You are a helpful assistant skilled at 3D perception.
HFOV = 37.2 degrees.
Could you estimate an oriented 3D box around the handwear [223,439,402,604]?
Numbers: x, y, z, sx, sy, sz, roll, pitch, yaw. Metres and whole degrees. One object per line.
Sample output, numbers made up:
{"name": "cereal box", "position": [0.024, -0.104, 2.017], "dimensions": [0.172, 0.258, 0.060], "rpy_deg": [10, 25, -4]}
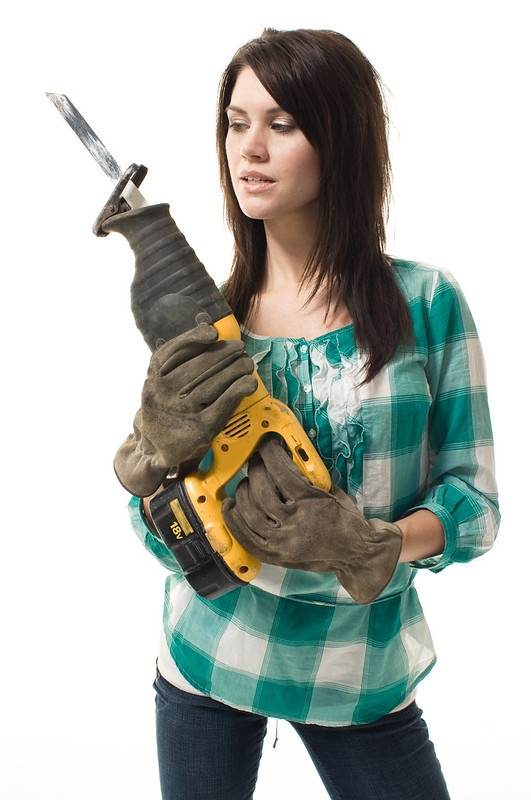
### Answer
{"name": "handwear", "position": [0.086, 0.239, 1.653], "dimensions": [0.261, 0.398, 0.159], "rpy_deg": [-66, -10, 7]}

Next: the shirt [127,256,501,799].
{"name": "shirt", "position": [0.082, 0.249, 1.930], "dimensions": [0.903, 0.639, 1.103], "rpy_deg": [-1, -72, -9]}
